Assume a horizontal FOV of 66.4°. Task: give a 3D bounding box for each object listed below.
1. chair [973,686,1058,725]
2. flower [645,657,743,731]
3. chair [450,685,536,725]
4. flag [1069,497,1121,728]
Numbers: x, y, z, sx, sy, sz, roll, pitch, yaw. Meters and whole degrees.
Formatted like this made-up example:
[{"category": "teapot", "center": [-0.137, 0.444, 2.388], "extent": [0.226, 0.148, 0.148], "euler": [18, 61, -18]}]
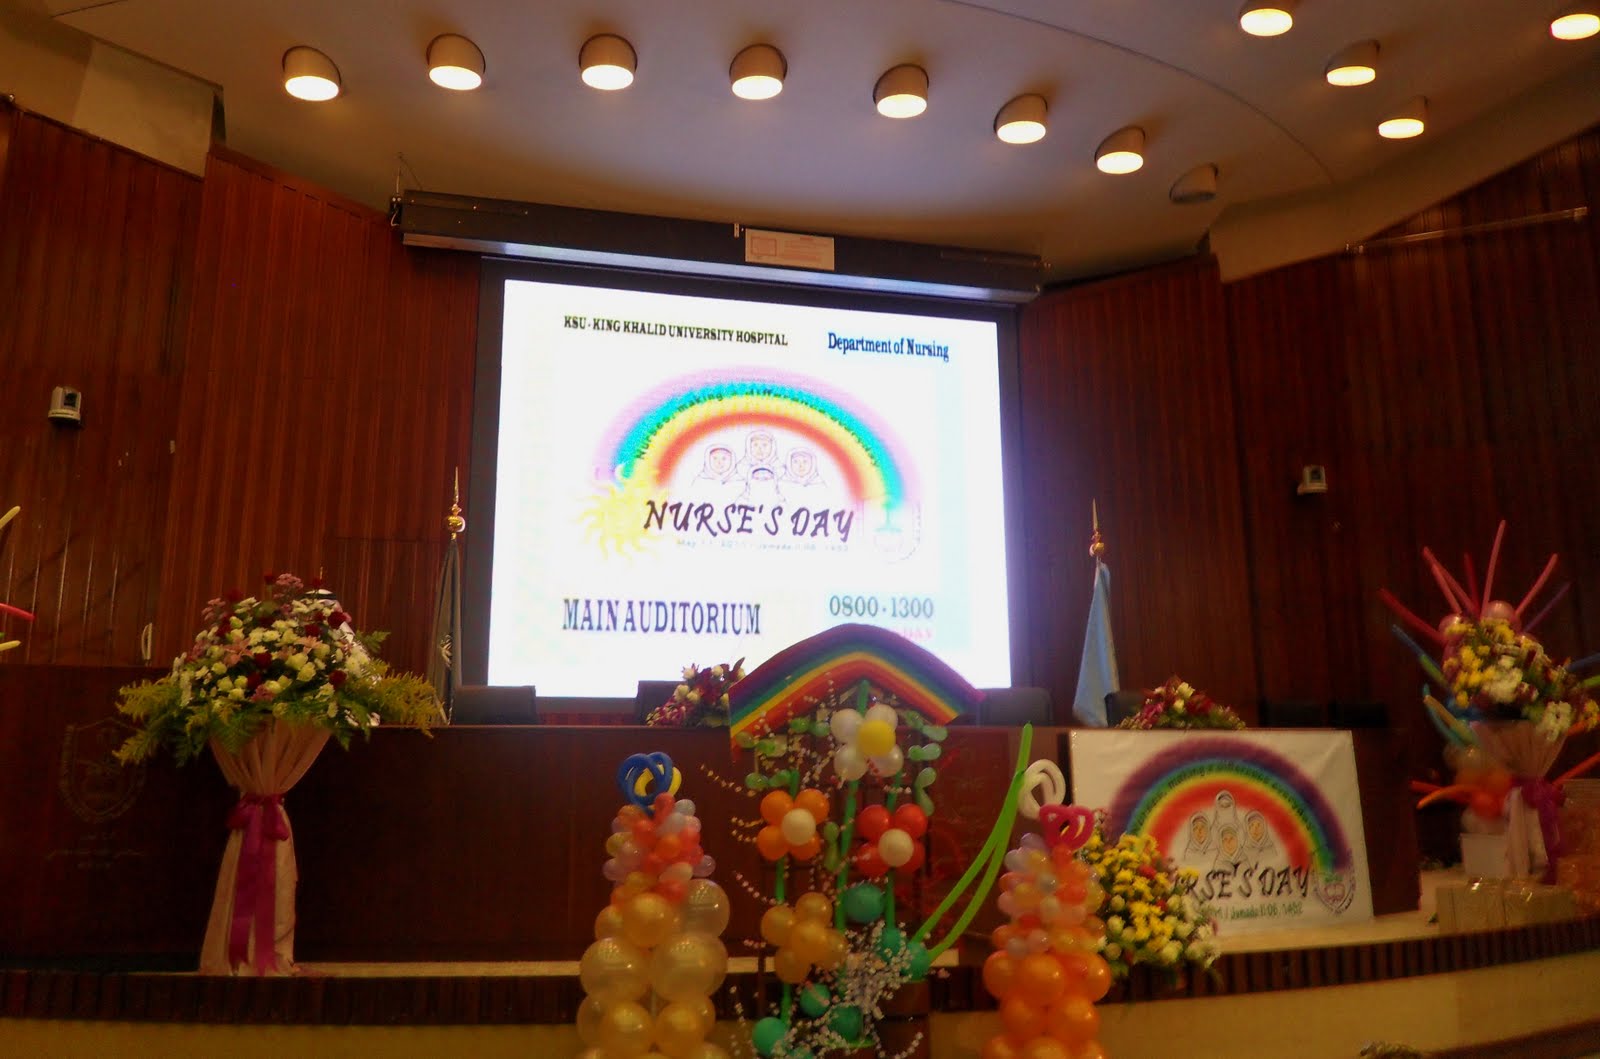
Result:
[{"category": "chair", "center": [1.134, 0.959, 6.649], "extent": [0.315, 0.192, 0.636], "euler": [-1, -7, 25]}, {"category": "flower", "center": [-0.412, 0.732, 5.653], "extent": [0.317, 0.169, 0.389], "euler": [8, 22, -26]}, {"category": "chair", "center": [-1.497, 0.852, 5.935], "extent": [0.226, 0.207, 0.253], "euler": [0, -5, -4]}, {"category": "flag", "center": [2.102, 0.557, 8.773], "extent": [0.343, 1.649, 0.525], "euler": [0, -8, 15]}]
